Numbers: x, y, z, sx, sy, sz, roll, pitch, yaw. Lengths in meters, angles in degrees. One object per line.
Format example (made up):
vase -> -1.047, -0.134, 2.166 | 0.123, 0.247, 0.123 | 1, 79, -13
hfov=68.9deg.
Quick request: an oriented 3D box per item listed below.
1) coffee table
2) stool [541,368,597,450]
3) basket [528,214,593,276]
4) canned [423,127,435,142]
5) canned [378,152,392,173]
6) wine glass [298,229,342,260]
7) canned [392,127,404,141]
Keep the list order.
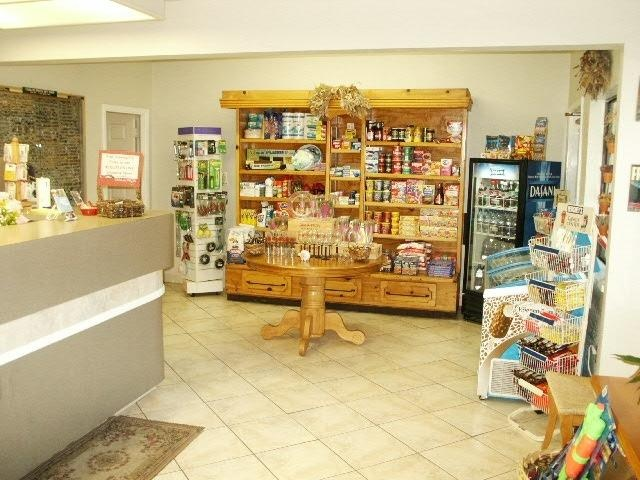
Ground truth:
coffee table -> -0.114, 0.691, 5.500 | 1.336, 0.829, 1.311 | -6, 10, -41
stool -> 1.632, 1.249, 3.096 | 0.291, 0.530, 0.674 | 6, 11, 27
basket -> 2.068, 0.021, 4.088 | 0.548, 0.510, 0.536 | -2, 4, -31
canned -> 1.640, -1.560, 6.894 | 0.196, 0.213, 0.193 | 5, 4, 31
canned -> 0.991, -1.153, 6.963 | 0.200, 0.277, 0.077 | -2, 10, -18
wine glass -> -0.007, 0.051, 5.537 | 0.517, 0.303, 0.243 | 1, 10, -3
canned -> 1.154, -1.555, 6.853 | 0.177, 0.185, 0.171 | 0, 10, -13
